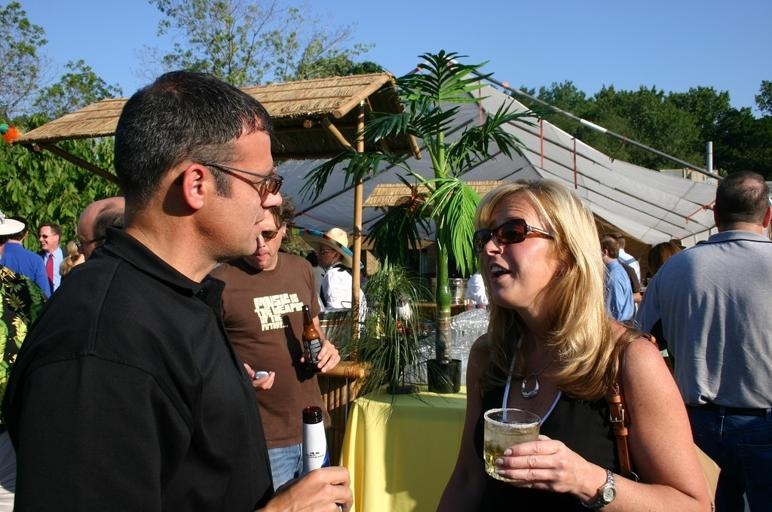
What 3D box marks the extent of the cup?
[{"bbox_3d":[0.552,0.833,3.296,0.314,0.336,0.311,1,-2,0],"label":"cup"}]
